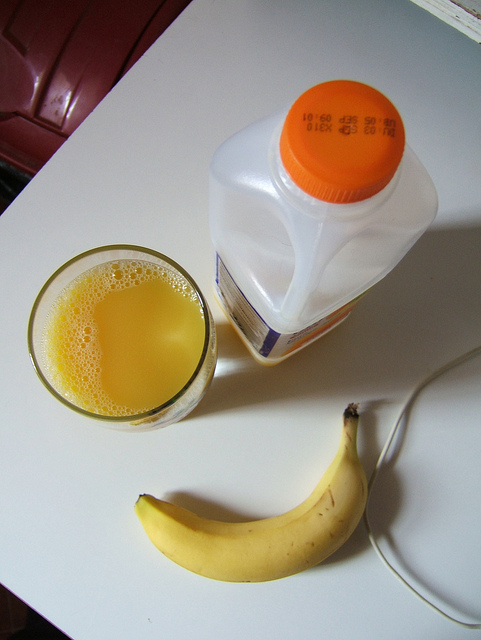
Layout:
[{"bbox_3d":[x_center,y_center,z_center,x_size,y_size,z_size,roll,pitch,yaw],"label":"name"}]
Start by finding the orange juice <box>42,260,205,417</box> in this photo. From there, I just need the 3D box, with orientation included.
[{"bbox_3d":[-0.141,0.020,0.653,0.183,0.086,0.179,4,85,5],"label":"orange juice"}]
